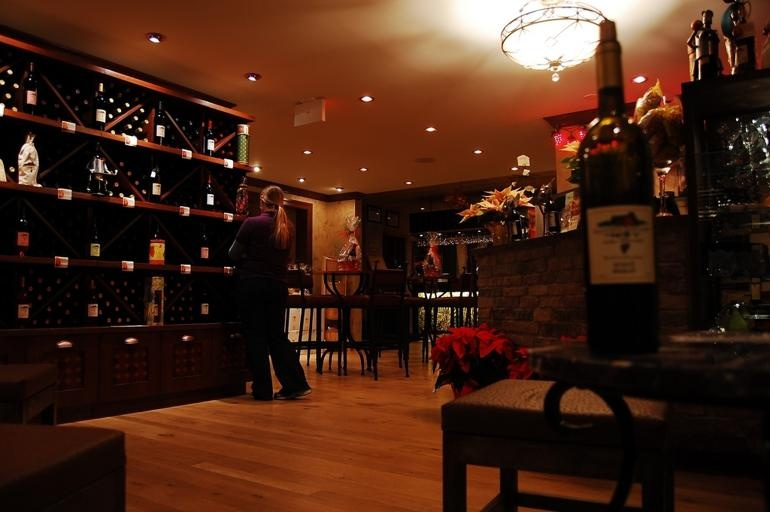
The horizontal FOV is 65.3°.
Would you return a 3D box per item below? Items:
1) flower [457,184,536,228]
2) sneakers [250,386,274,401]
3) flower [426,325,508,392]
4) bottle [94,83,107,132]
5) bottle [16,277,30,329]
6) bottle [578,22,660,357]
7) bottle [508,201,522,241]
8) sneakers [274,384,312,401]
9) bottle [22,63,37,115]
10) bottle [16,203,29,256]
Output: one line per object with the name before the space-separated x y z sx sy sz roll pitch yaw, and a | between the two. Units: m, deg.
flower | 0.794 -0.382 4.357 0.481 0.335 0.812 -3 -6 -5
sneakers | -1.026 1.139 5.003 0.155 0.098 0.117 2 -2 -36
flower | 0.521 0.633 3.854 0.436 0.402 0.426 -4 3 -6
bottle | -2.248 -1.168 4.738 0.070 0.437 0.307 -2 -7 -20
bottle | -2.605 0.317 4.320 0.087 0.371 0.213 0 -7 -31
bottle | 0.596 -0.176 1.555 0.201 0.854 0.142 -5 -6 9
bottle | 0.881 -0.233 4.090 0.099 0.244 0.064 -6 -7 14
sneakers | -0.773 1.128 5.003 0.300 0.122 0.128 1 -3 5
bottle | -2.605 -1.218 4.394 0.084 0.390 0.168 0 -7 -32
bottle | -2.640 -0.192 4.366 0.080 0.363 0.193 0 -7 -30
